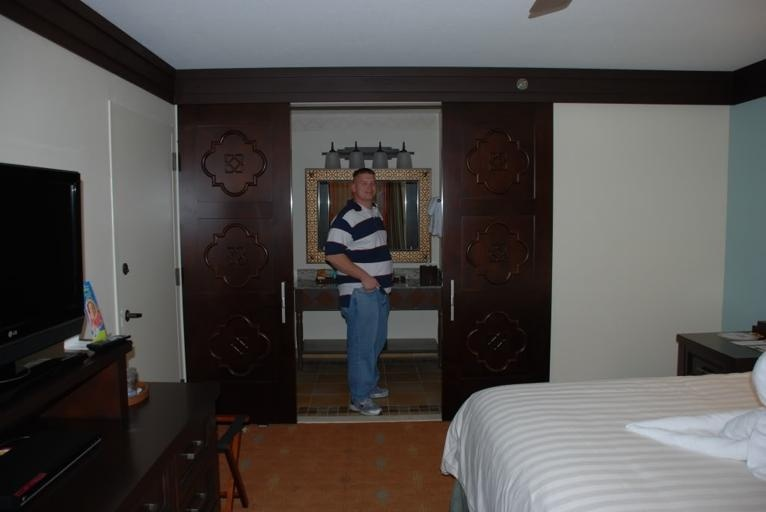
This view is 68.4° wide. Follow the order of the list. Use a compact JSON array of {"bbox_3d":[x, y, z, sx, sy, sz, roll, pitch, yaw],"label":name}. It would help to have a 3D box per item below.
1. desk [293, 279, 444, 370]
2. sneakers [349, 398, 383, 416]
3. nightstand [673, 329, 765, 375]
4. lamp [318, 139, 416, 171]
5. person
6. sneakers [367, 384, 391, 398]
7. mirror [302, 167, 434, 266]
[{"bbox_3d":[-0.150,0.839,5.523,1.369,0.706,0.414,18,-13,-24],"label":"desk"},{"bbox_3d":[-0.139,1.238,4.643,0.253,0.113,0.109,-2,-2,25],"label":"sneakers"},{"bbox_3d":[2.304,0.677,3.852,0.274,0.377,0.376,1,1,0],"label":"nightstand"},{"bbox_3d":[-0.142,-0.979,5.534,0.905,0.264,0.211,-2,13,-5],"label":"lamp"},{"bbox_3d":[-0.184,0.284,4.645,0.478,1.936,0.537,4,14,19],"label":"person"},{"bbox_3d":[-0.031,1.180,4.906,0.176,0.078,0.083,-2,1,-2],"label":"sneakers"},{"bbox_3d":[-0.180,-0.410,5.246,0.938,0.797,0.045,0,3,-3],"label":"mirror"}]
